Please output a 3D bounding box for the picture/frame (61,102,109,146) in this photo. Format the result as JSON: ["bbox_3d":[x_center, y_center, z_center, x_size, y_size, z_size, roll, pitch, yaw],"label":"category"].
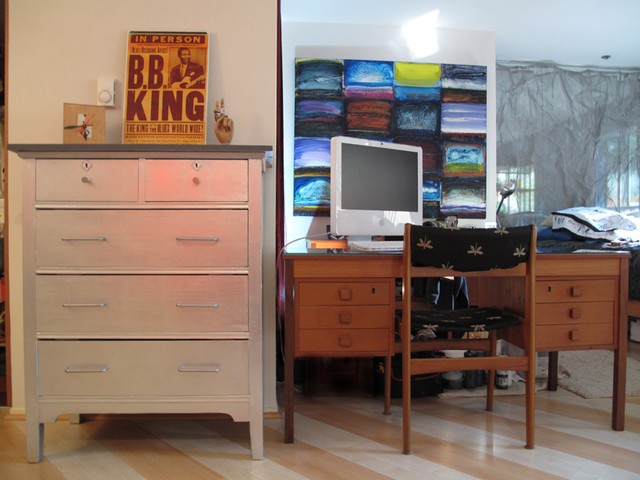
[{"bbox_3d":[-1.141,-0.593,3.386,0.231,0.215,0.211,2,12,-1],"label":"picture/frame"}]

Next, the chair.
[{"bbox_3d":[0.732,0.454,3.477,0.795,1.112,0.649,-1,5,4],"label":"chair"}]

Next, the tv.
[{"bbox_3d":[0.312,-0.288,3.733,0.696,0.530,0.068,0,0,-27],"label":"tv"}]

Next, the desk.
[{"bbox_3d":[0.691,0.793,3.857,1.933,0.906,0.976,0,3,-1],"label":"desk"}]
